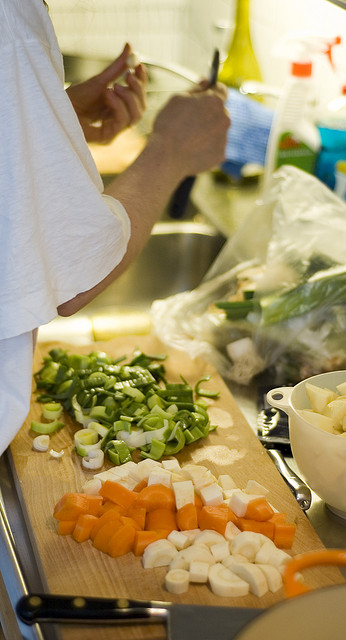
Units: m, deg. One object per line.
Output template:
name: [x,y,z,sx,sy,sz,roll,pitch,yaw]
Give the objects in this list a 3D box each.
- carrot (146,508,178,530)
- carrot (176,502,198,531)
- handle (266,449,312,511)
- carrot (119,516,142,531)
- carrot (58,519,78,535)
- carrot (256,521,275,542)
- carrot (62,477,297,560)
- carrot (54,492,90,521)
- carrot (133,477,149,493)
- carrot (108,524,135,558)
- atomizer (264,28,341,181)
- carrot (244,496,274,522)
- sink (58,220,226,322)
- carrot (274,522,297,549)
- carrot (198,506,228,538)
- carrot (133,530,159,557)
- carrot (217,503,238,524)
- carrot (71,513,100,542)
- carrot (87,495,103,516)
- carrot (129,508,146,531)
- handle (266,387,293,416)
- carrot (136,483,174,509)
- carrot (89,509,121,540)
carrot: [-0.013,0.230,0.585,0.036,0.016,0.035,0,31,-2]
carrot: [0.016,0.225,0.579,0.023,0.023,0.023,-9,32,-16]
handle: [0.152,0.216,0.680,0.017,0.029,0.100,11,14,-13]
carrot: [-0.048,0.226,0.569,0.019,0.010,0.018,34,8,11]
carrot: [-0.121,0.235,0.574,0.025,0.017,0.014,0,5,-9]
carrot: [0.104,0.233,0.558,0.017,0.017,0.017,-1,21,4]
carrot: [-0.009,0.226,0.574,0.170,0.031,0.112,5,6,-2]
carrot: [-0.117,0.215,0.580,0.033,0.023,0.033,-21,-4,-20]
carrot: [-0.040,0.206,0.633,0.016,0.016,0.004,-7,50,-50]
carrot: [-0.056,0.238,0.545,0.031,0.032,0.011,0,17,-43]
atomizer: [0.205,-0.347,0.825,0.102,0.221,0.064,8,31,13]
carrot: [0.098,0.213,0.570,0.031,0.022,0.023,-7,1,-20]
sink: [-0.055,-0.116,1.006,0.254,0.091,0.207,-27,27,21]
carrot: [0.121,0.235,0.555,0.027,0.027,0.028,0,7,5]
carrot: [0.046,0.221,0.561,0.026,0.027,0.028,0,3,4]
carrot: [-0.031,0.238,0.547,0.025,0.026,0.024,6,-13,-18]
carrot: [0.064,0.226,0.591,0.017,0.017,0.017,30,55,-8]
carrot: [-0.098,0.234,0.566,0.009,0.024,0.026,31,8,27]
carrot: [-0.095,0.220,0.598,0.020,0.019,0.010,2,-16,-2]
carrot: [-0.041,0.227,0.576,0.015,0.020,0.020,0,2,-11]
handle: [0.139,0.107,0.660,0.035,0.008,0.036,15,38,30]
carrot: [-0.021,0.211,0.601,0.044,0.025,0.017,-5,31,-10]
carrot: [-0.075,0.228,0.561,0.010,0.029,0.028,41,20,4]
